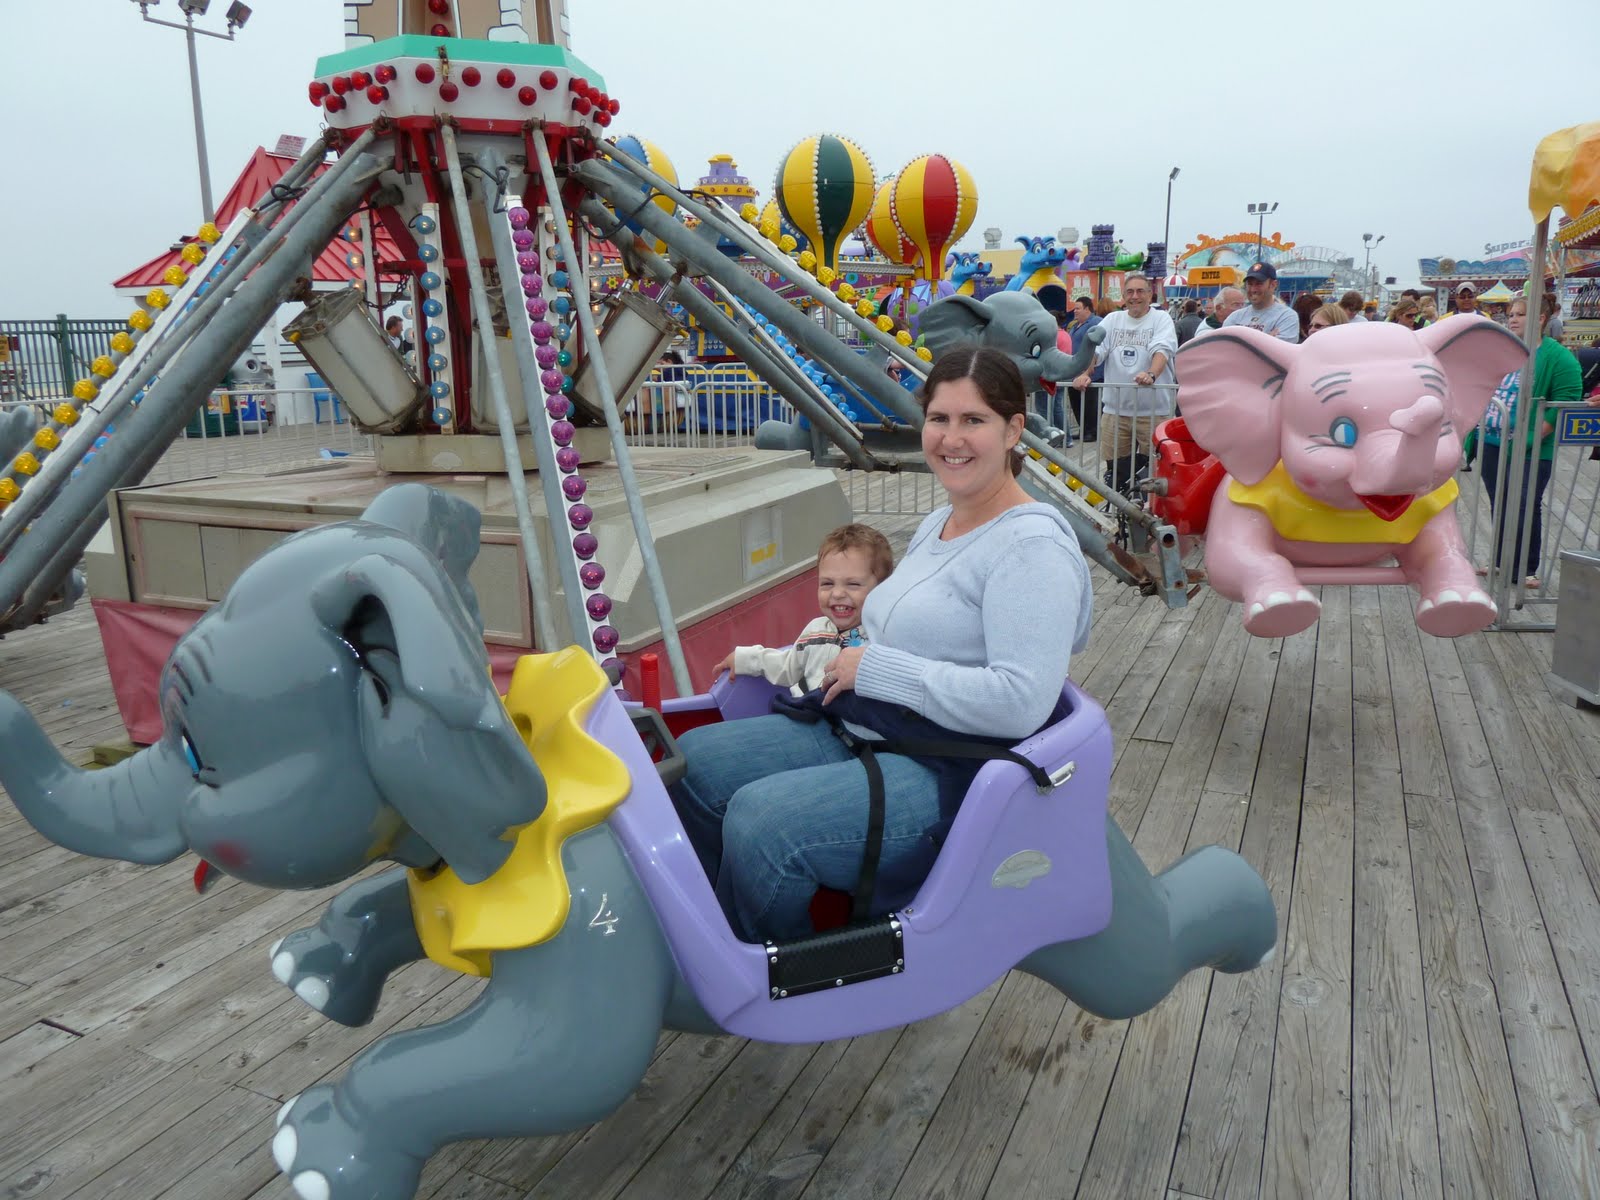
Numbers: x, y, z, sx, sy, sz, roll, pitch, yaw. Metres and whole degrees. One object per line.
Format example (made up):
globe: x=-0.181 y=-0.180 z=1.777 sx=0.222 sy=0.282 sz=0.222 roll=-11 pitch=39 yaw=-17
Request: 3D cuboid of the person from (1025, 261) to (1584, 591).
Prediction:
person: x=2.107 y=-0.663 z=4.026 sx=0.929 sy=0.909 sz=1.330 roll=-4 pitch=17 yaw=1

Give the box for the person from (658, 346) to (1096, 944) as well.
person: x=0.178 y=-0.001 z=2.658 sx=0.955 sy=1.851 sz=0.919 roll=1 pitch=8 yaw=-5

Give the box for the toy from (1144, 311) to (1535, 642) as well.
toy: x=2.262 y=-0.590 z=4.337 sx=1.168 sy=1.215 sz=1.606 roll=-2 pitch=22 yaw=15
